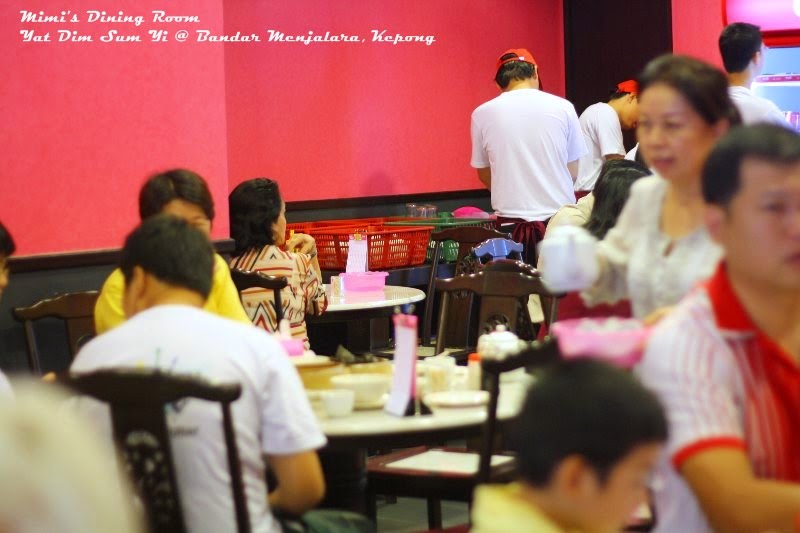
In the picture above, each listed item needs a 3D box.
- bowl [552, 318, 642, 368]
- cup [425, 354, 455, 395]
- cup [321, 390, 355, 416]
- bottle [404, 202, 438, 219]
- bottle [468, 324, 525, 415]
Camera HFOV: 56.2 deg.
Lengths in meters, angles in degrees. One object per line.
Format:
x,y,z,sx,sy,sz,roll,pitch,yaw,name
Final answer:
0.373,0.134,1.384,0.124,0.050,0.113,-2,4,0,bowl
0.138,0.356,2.429,0.089,0.148,0.094,1,-1,0,cup
-0.174,0.387,2.114,0.075,0.050,0.075,-4,0,0,cup
0.167,-0.423,5.778,0.188,0.135,0.148,1,3,20,bottle
0.271,0.324,2.431,0.209,0.236,0.210,-1,-1,0,bottle
